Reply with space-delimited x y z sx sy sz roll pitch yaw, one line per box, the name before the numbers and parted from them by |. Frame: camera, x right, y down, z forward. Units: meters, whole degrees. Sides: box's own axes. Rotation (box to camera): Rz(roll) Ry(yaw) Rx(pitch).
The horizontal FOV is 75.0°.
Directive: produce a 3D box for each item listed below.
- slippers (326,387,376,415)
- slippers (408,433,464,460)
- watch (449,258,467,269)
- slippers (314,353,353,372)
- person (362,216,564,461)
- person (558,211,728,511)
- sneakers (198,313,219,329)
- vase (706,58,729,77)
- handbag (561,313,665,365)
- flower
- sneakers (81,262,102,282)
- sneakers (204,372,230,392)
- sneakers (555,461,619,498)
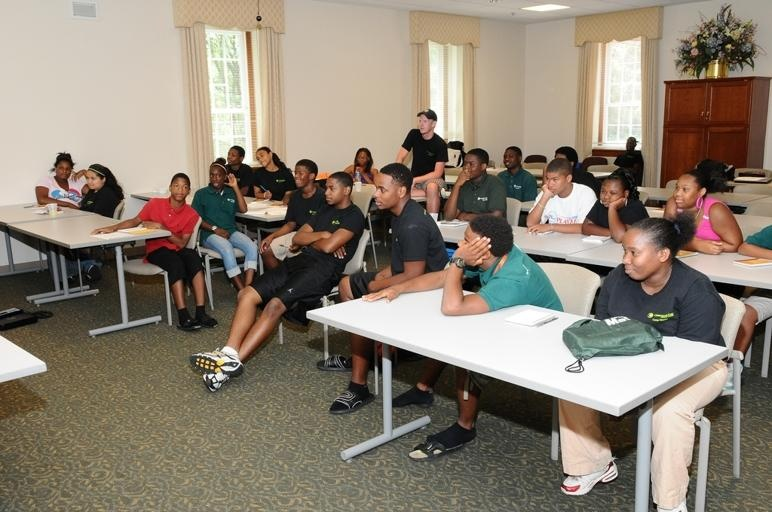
slippers | -0.234 0.979 3.412 0.295 0.115 0.137 -4 5 -36
slippers | 0.322 1.076 2.992 0.374 0.133 0.119 -5 13 -25
watch | 0.388 0.037 2.754 0.073 0.047 0.074 24 -8 -24
slippers | -0.401 0.843 3.980 0.227 0.074 0.122 1 5 -3
person | 0.495 0.429 3.000 0.948 1.381 0.546 -8 16 -18
person | 1.308 0.530 2.523 0.654 1.417 0.803 8 18 36
sneakers | -1.685 0.618 4.744 0.187 0.072 0.097 4 9 35
vase | 5.691 -3.161 8.608 0.311 0.272 0.297 0 4 13
handbag | 0.999 0.361 2.226 0.293 0.086 0.231 -5 11 -8
flower | 5.736 -3.627 8.822 1.205 1.077 1.183 16 15 36
sneakers | -3.610 0.193 6.161 0.232 0.259 0.260 -18 2 -27
sneakers | -1.234 0.885 3.629 0.140 0.193 0.082 13 -24 -6
sneakers | 1.061 1.166 2.708 0.355 0.158 0.130 -4 5 -26
